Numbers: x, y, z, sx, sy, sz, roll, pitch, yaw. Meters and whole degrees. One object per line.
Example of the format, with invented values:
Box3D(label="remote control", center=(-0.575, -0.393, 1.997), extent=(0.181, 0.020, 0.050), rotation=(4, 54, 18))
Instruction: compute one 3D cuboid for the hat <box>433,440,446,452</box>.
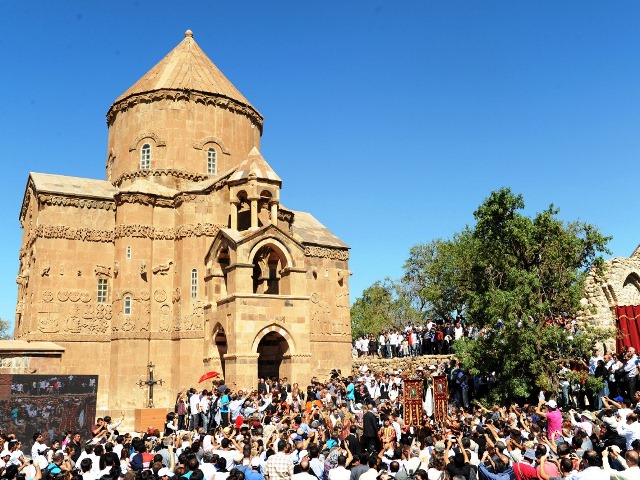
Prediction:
Box3D(label="hat", center=(2.840, 5.008, 13.379), extent=(0.217, 0.232, 0.068), rotation=(0, -21, -3))

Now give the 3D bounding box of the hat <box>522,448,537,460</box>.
Box3D(label="hat", center=(4.928, 5.102, 13.076), extent=(0.328, 0.256, 0.479), rotation=(3, -18, 15))
